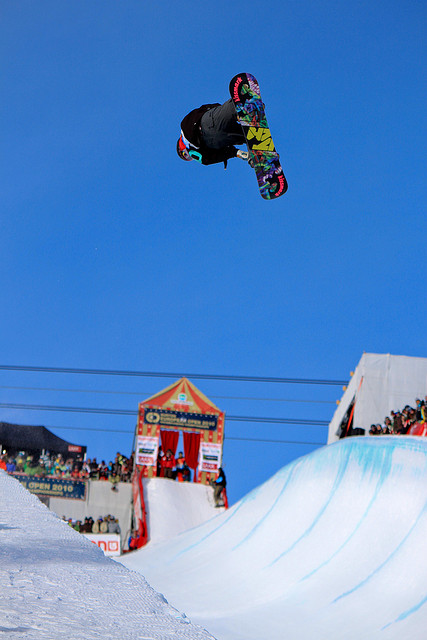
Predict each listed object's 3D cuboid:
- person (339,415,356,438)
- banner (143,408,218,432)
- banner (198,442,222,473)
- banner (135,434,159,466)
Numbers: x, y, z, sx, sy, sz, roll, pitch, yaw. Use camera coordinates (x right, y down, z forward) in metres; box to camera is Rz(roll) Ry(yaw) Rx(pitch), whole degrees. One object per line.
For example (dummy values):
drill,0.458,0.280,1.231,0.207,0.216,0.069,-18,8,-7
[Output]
person,2.836,2.259,23.535,0.306,0.246,1.047,26,-9,12
banner,-0.849,2.525,28.004,1.863,0.538,0.318,-1,6,-3
banner,-0.100,3.416,27.608,0.595,0.633,0.733,0,5,8
banner,-1.632,3.202,27.136,0.578,0.597,0.920,-1,5,-3
